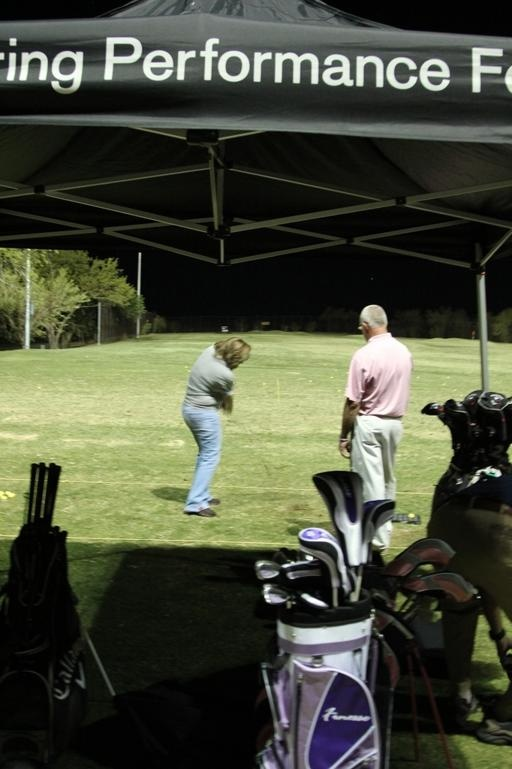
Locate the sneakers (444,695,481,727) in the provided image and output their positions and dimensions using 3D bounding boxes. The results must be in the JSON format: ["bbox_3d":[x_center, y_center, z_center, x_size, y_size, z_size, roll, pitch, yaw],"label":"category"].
[{"bbox_3d":[0.804,1.277,2.577,0.127,0.154,0.088,1,0,-4],"label":"sneakers"}]

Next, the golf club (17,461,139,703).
[{"bbox_3d":[-0.788,0.734,2.744,0.400,1.248,0.093,5,11,16],"label":"golf club"}]

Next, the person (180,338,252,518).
[{"bbox_3d":[-0.427,0.408,6.166,0.422,1.678,0.578,6,-4,-38],"label":"person"}]
